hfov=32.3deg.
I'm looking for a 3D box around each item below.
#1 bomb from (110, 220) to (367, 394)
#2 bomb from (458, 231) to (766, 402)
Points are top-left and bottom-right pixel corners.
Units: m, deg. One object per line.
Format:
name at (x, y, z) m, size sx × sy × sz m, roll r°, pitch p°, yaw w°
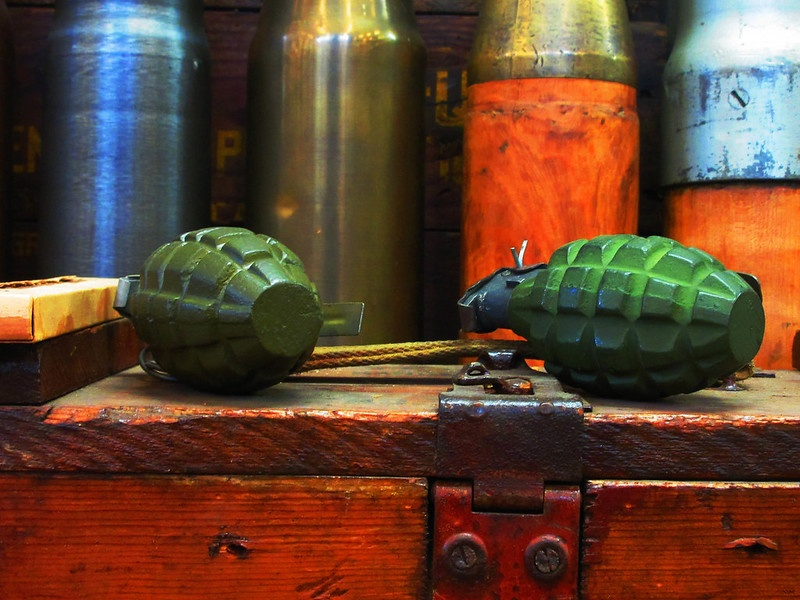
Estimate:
bomb at (-0.206, 0.007, 1.665) m, size 0.281 × 0.184 × 0.381 m, roll 1°, pitch 2°, yaw -33°
bomb at (0.254, 0.023, 1.714) m, size 0.388 × 0.159 × 0.195 m, roll 4°, pitch 6°, yaw 35°
